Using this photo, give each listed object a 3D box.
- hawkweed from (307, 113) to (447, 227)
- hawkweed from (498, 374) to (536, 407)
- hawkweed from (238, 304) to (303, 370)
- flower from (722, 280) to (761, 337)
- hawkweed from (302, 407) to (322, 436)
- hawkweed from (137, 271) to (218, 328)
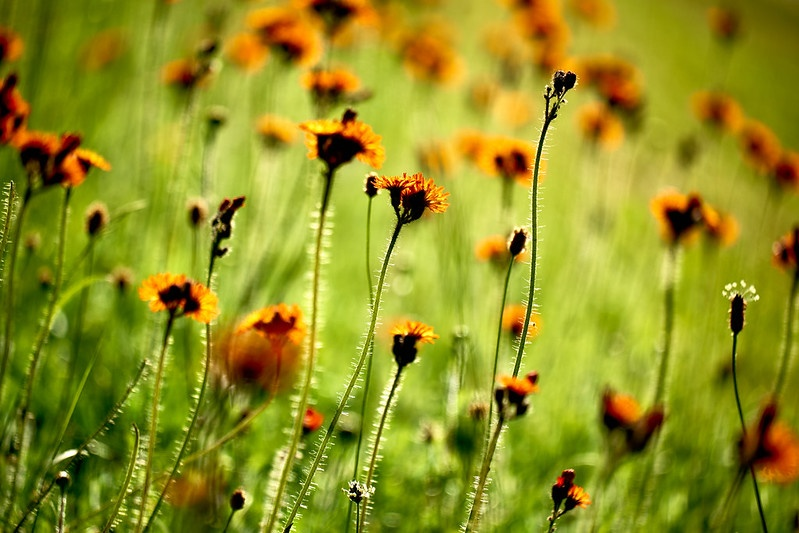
[{"bbox_3d":[-0.074,-0.299,2.919,0.363,0.246,0.284,28,2,-3],"label":"hawkweed"},{"bbox_3d":[0.334,0.352,2.827,0.118,0.112,0.067,2,32,-11],"label":"hawkweed"},{"bbox_3d":[-0.364,0.187,2.852,0.150,0.173,0.142,8,60,-14],"label":"hawkweed"},{"bbox_3d":[1.093,0.136,3.165,0.093,0.095,0.180,23,64,-30],"label":"flower"},{"bbox_3d":[-0.261,0.464,2.979,0.061,0.081,0.069,1,-2,-23],"label":"hawkweed"},{"bbox_3d":[-0.623,0.100,2.814,0.154,0.083,0.161,26,34,-22],"label":"hawkweed"}]
